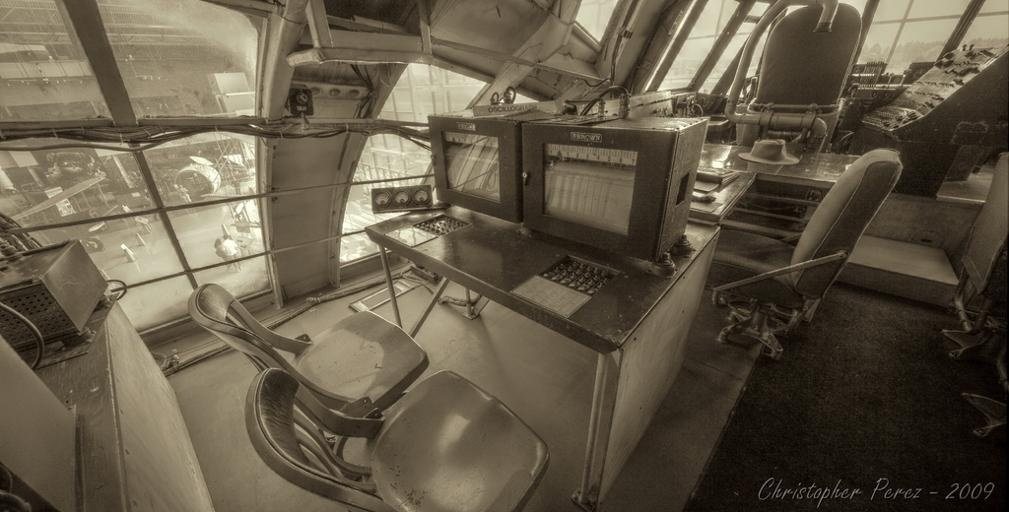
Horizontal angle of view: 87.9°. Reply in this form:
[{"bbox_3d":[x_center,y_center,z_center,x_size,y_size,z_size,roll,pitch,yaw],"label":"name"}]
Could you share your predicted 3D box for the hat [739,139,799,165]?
[{"bbox_3d":[2.874,-1.139,5.635,0.431,0.128,0.426,16,38,42],"label":"hat"}]
